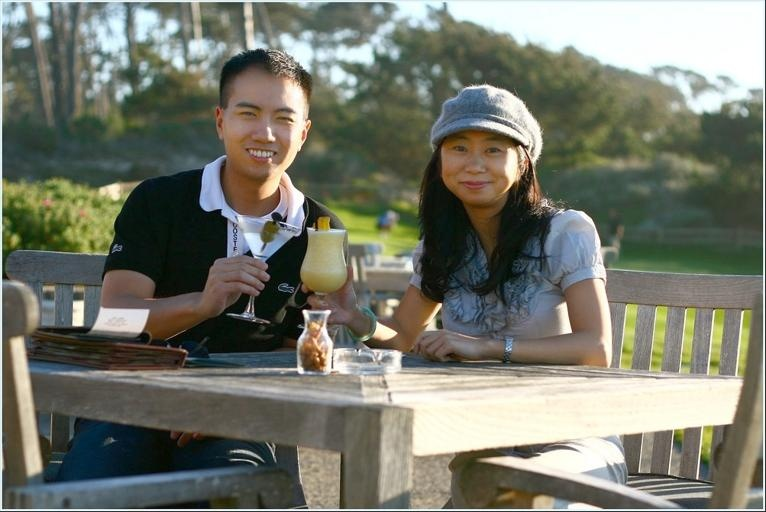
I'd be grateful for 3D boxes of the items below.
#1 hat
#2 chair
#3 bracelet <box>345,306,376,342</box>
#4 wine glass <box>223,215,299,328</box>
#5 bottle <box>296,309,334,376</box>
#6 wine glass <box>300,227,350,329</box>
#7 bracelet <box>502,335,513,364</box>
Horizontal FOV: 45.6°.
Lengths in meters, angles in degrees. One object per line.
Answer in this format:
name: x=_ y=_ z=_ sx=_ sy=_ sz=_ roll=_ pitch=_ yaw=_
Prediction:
hat: x=0.525 y=-0.693 z=4.639 sx=0.490 sy=0.297 sz=0.609 roll=6 pitch=-8 yaw=-9
chair: x=0.070 y=0.534 z=4.635 sx=3.723 sy=1.061 sz=2.130 roll=3 pitch=5 yaw=37
bracelet: x=-0.061 y=0.329 z=4.484 sx=0.157 sy=0.175 sz=0.052 roll=-13 pitch=-8 yaw=40
wine glass: x=-0.583 y=0.084 z=4.364 sx=0.327 sy=0.558 sz=0.374 roll=-1 pitch=5 yaw=-12
bottle: x=-0.288 y=0.362 z=3.861 sx=0.164 sy=0.269 sz=0.162 roll=1 pitch=0 yaw=0
wine glass: x=-0.266 y=0.029 z=4.178 sx=0.219 sy=0.310 sz=0.168 roll=0 pitch=5 yaw=-9
bracelet: x=0.586 y=0.434 z=4.245 sx=0.064 sy=0.103 sz=0.092 roll=3 pitch=6 yaw=11
